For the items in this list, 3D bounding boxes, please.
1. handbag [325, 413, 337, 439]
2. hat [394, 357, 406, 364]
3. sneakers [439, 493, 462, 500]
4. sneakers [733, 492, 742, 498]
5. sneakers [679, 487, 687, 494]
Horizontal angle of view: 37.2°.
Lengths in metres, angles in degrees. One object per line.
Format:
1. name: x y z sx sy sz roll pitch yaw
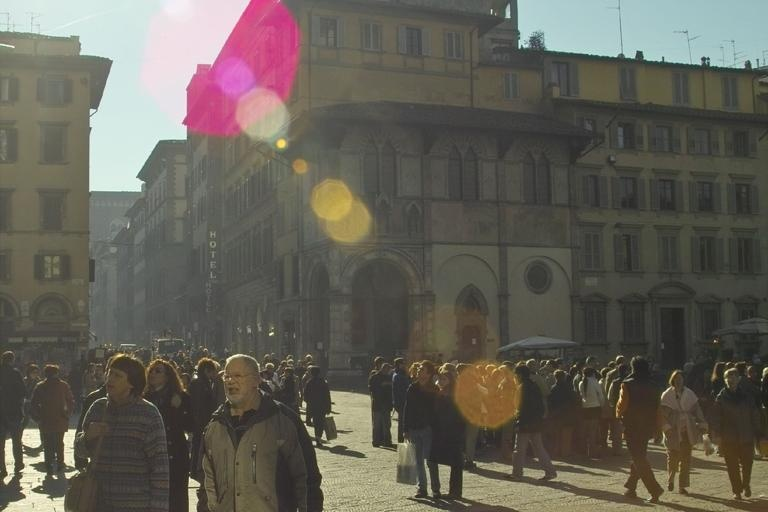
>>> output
1. handbag: -1.759 5.644 37.718 0.294 0.862 0.811 -12 -28 14
2. hat: 0.518 3.429 37.265 0.256 0.165 0.258 1 -1 -39
3. sneakers: 1.828 6.525 31.270 0.550 0.250 0.192 2 -8 14
4. sneakers: 9.609 6.489 30.964 0.219 0.159 0.122 1 -3 0
5. sneakers: 8.315 6.461 31.616 0.244 0.138 0.399 2 12 12
